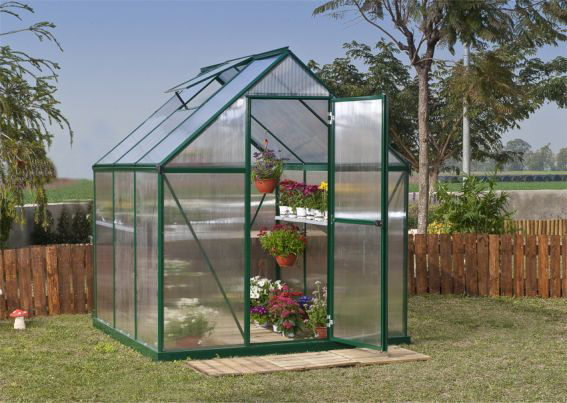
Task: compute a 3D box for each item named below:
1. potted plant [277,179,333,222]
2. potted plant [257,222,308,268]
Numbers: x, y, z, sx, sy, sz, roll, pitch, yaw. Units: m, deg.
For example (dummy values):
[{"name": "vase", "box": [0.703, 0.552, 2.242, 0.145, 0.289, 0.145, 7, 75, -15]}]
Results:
[{"name": "potted plant", "box": [0.475, 0.021, 18.508, 0.466, 0.764, 1.549, -10, 17, -37]}, {"name": "potted plant", "box": [0.088, 0.952, 18.770, 0.761, 0.787, 0.667, 4, 10, -15]}]
